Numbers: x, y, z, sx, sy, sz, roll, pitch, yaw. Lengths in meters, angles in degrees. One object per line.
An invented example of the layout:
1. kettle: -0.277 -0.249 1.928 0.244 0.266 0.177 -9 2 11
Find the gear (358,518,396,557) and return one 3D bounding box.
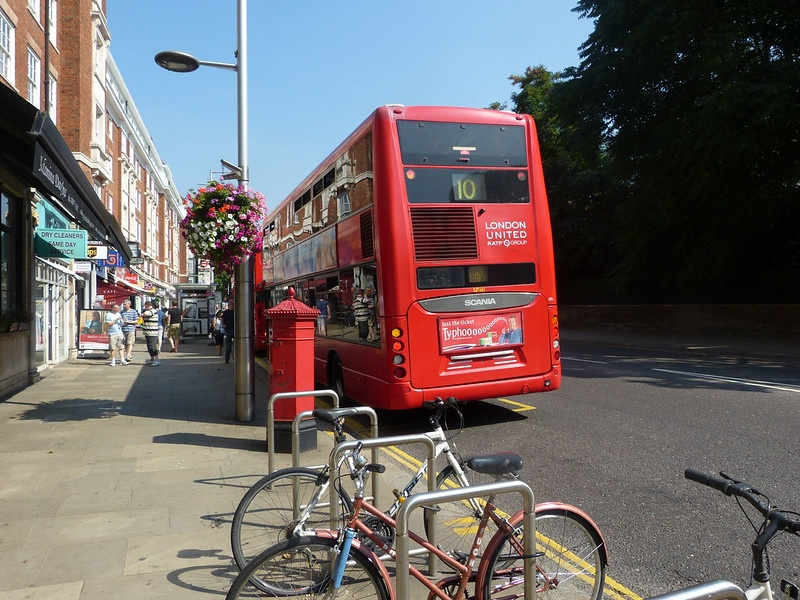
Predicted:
1. gear: -0.157 1.648 4.104 0.316 0.311 0.078 6 -12 -37

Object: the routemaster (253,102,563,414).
1. routemaster: -0.874 -0.527 13.480 3.098 4.719 10.683 -4 0 -23

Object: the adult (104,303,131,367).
1. adult: -9.219 1.154 18.841 0.556 1.939 2.347 -1 -2 -25

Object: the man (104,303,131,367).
1. man: -9.157 1.147 18.709 0.556 1.939 2.055 -1 -2 -25

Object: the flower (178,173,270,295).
1. flower: -2.638 -1.116 8.640 1.219 1.326 0.532 -2 -2 -6

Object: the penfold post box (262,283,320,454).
1. penfold post box: -1.472 0.987 7.858 0.719 2.076 0.781 1 2 37

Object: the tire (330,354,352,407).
1. tire: -1.016 1.388 10.044 0.288 0.840 0.827 0 -29 -19

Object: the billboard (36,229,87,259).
1. billboard: -8.983 -1.491 15.239 0.121 0.553 0.914 6 5 37
